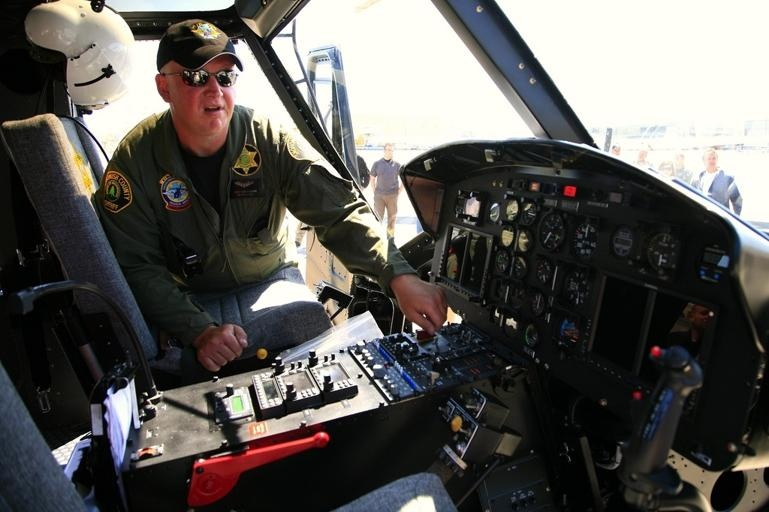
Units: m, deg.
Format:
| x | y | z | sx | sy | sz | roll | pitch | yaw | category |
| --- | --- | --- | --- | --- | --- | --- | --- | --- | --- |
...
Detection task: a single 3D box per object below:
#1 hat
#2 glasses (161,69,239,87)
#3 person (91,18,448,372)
| x | y | z | sx | sy | sz | roll | pitch | yaw | category |
| --- | --- | --- | --- | --- | --- | --- | --- | --- | --- |
| -0.894 | -0.998 | 2.668 | 0.344 | 0.181 | 0.252 | 11 | 21 | 38 | hat |
| -0.904 | -0.872 | 2.694 | 0.352 | 0.091 | 0.135 | -6 | 15 | -14 | glasses |
| -0.670 | -0.251 | 2.794 | 1.282 | 1.693 | 1.136 | 25 | 35 | 28 | person |
